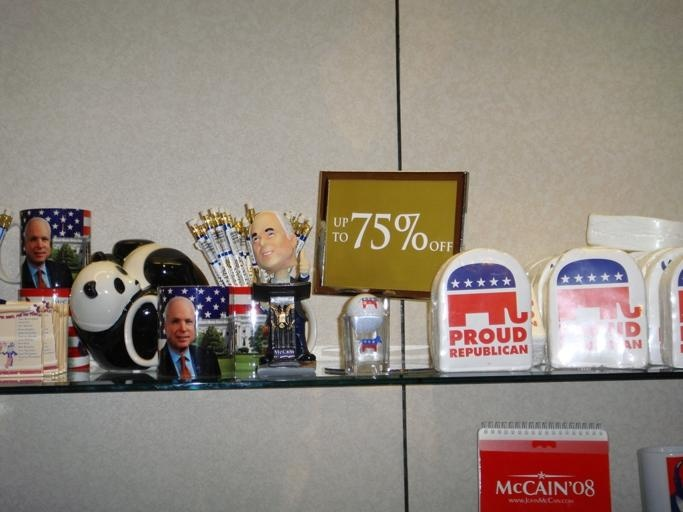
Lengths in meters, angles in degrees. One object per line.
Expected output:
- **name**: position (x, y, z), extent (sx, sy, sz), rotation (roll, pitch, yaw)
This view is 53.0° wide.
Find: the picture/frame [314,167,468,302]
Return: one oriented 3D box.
- **picture/frame**: position (0.123, -0.048, 1.662), extent (0.286, 0.267, 0.026), rotation (2, -9, 1)
